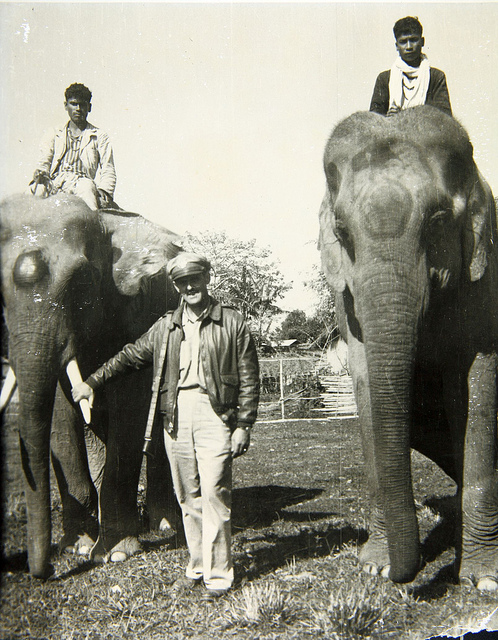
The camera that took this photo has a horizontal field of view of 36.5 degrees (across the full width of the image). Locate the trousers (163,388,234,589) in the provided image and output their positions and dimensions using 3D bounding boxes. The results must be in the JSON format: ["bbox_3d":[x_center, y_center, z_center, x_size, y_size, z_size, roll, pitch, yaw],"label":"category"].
[{"bbox_3d":[-0.278,0.891,3.902,0.346,0.322,1.128,10,32,-20],"label":"trousers"}]

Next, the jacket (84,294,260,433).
[{"bbox_3d":[-0.227,0.201,3.842,0.584,0.913,0.200,0,-5,20],"label":"jacket"}]

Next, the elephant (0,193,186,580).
[{"bbox_3d":[-0.501,0.342,4.390,0.845,1.784,1.810,-4,-12,18],"label":"elephant"}]
